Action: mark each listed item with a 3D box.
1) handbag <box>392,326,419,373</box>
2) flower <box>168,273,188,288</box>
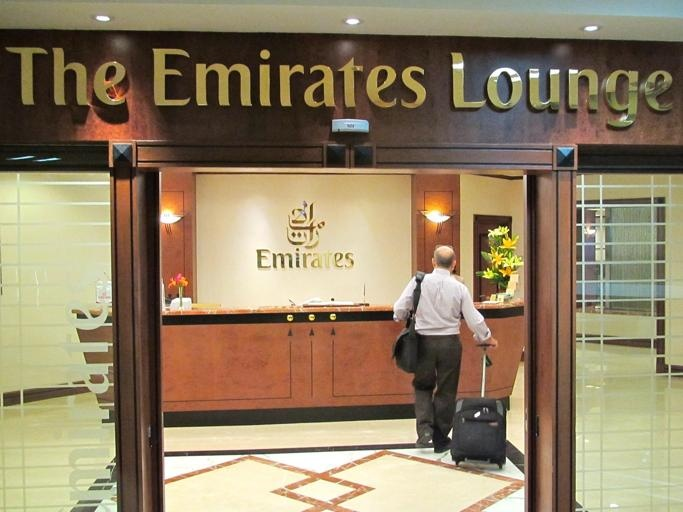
[{"bbox_3d":[0.549,0.808,6.824,0.199,0.373,0.097,-2,0,41],"label":"handbag"},{"bbox_3d":[-2.020,0.303,9.741,0.206,0.218,0.215,-2,-2,24],"label":"flower"}]
